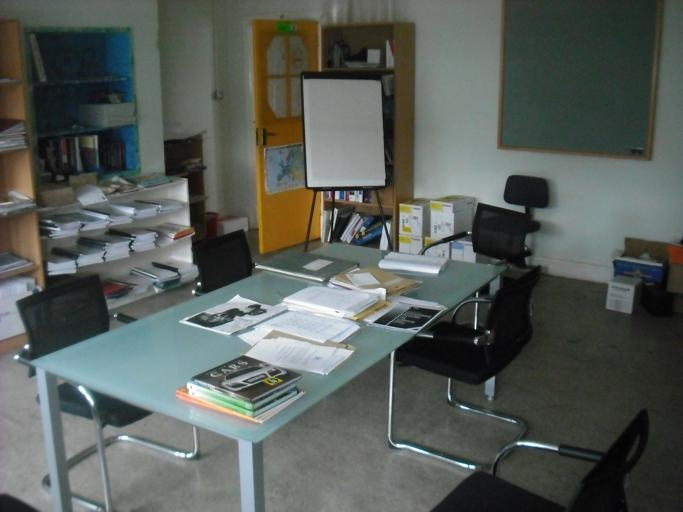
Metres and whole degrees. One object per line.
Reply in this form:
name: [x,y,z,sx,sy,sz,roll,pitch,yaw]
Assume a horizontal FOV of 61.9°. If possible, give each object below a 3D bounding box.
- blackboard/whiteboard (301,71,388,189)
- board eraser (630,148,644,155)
blackboard/whiteboard: [0.012,-1.207,5.475,1.183,1.362,0.109,-5,7,-23]
board eraser: [2.727,-0.973,5.272,0.108,0.074,0.028,11,23,38]
